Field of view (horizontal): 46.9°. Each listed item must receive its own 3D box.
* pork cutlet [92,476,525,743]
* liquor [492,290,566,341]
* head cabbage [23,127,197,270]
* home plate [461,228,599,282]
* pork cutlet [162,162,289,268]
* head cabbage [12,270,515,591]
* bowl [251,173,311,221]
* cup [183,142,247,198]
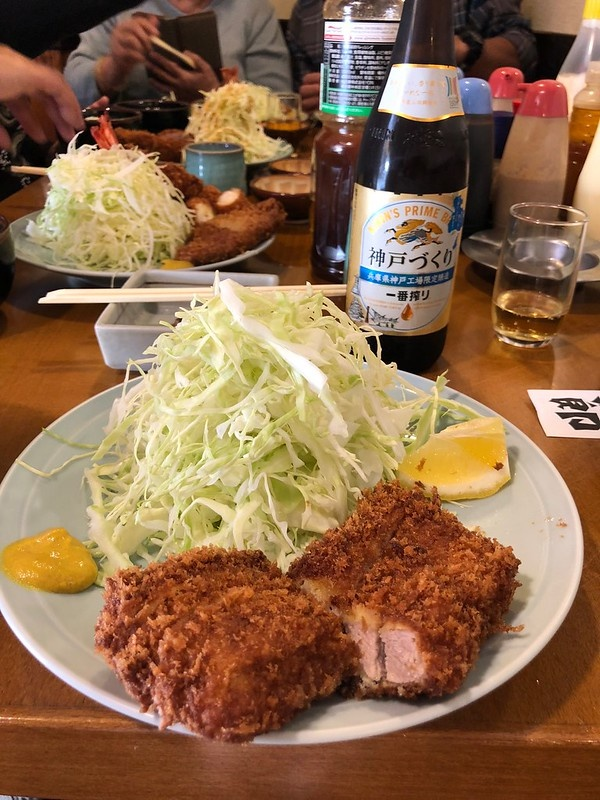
[{"bbox_3d":[0.008,0.207,0.676,0.306,0.083,0.203,-13,27,-11],"label":"pork cutlet"},{"bbox_3d":[0.473,-0.171,1.448,0.183,0.107,0.160,6,10,12],"label":"liquor"},{"bbox_3d":[-0.445,-0.427,1.668,0.384,0.164,0.339,21,51,15],"label":"head cabbage"},{"bbox_3d":[0.486,-0.302,1.452,0.167,0.035,0.150,-2,34,-1],"label":"home plate"},{"bbox_3d":[-0.158,-0.428,1.669,0.333,0.075,0.314,4,44,22],"label":"pork cutlet"},{"bbox_3d":[-0.032,0.052,0.892,0.492,0.186,0.453,13,35,18],"label":"head cabbage"},{"bbox_3d":[-0.044,-0.580,1.922,0.174,0.070,0.157,-2,40,-4],"label":"bowl"},{"bbox_3d":[-0.208,-0.618,1.889,0.173,0.152,0.161,1,20,0],"label":"cup"}]
